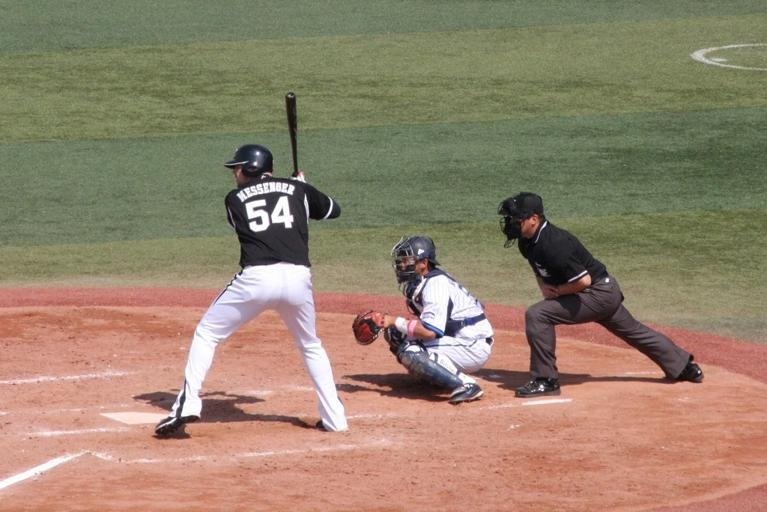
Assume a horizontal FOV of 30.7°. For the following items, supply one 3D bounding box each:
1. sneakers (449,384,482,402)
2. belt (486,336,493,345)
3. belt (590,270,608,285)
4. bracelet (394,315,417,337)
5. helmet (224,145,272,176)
[{"bbox_3d":[1.153,2.071,20.813,0.576,0.176,0.216,-3,-2,-14],"label":"sneakers"},{"bbox_3d":[1.613,1.289,21.191,0.132,0.100,0.136,-6,-5,-2],"label":"belt"},{"bbox_3d":[3.279,0.334,21.106,0.203,0.209,0.264,-34,-28,25],"label":"belt"},{"bbox_3d":[0.350,1.032,20.868,0.369,0.246,0.117,5,15,5],"label":"bracelet"},{"bbox_3d":[-1.872,-1.409,20.301,0.784,0.298,0.442,3,3,3],"label":"helmet"}]
